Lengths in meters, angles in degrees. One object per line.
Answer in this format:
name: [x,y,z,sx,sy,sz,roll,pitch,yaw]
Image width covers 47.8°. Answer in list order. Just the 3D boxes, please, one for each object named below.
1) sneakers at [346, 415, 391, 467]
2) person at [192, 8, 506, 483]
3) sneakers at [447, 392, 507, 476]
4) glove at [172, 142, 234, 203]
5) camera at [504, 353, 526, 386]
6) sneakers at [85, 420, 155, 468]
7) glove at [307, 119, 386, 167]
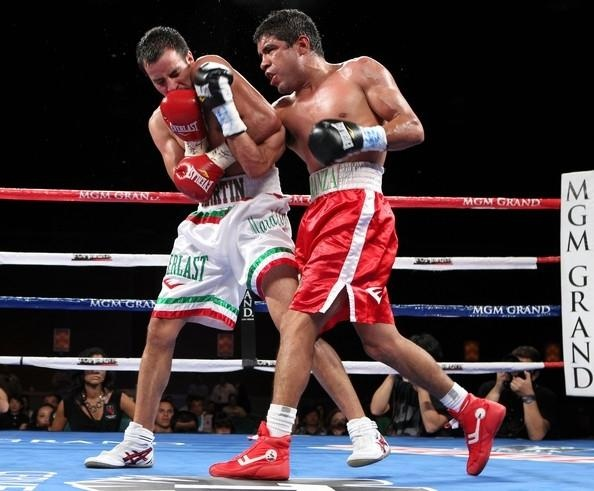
sneakers: [0.267,0.753,2.591,0.101,0.112,0.283,-25,-14,9]
person: [0.239,-0.069,2.719,1.004,1.929,0.545,0,-7,11]
sneakers: [0.758,0.732,2.790,0.293,0.349,0.127,12,-4,1]
glove: [-0.397,-0.307,2.765,0.191,0.257,0.104,35,-18,-1]
camera: [1.382,0.770,4.169,0.175,0.164,0.185,2,0,-3]
sneakers: [-0.742,0.810,2.697,0.339,0.193,0.120,4,-14,-17]
glove: [0.178,-0.399,2.575,0.265,0.151,0.100,-13,-4,-27]
